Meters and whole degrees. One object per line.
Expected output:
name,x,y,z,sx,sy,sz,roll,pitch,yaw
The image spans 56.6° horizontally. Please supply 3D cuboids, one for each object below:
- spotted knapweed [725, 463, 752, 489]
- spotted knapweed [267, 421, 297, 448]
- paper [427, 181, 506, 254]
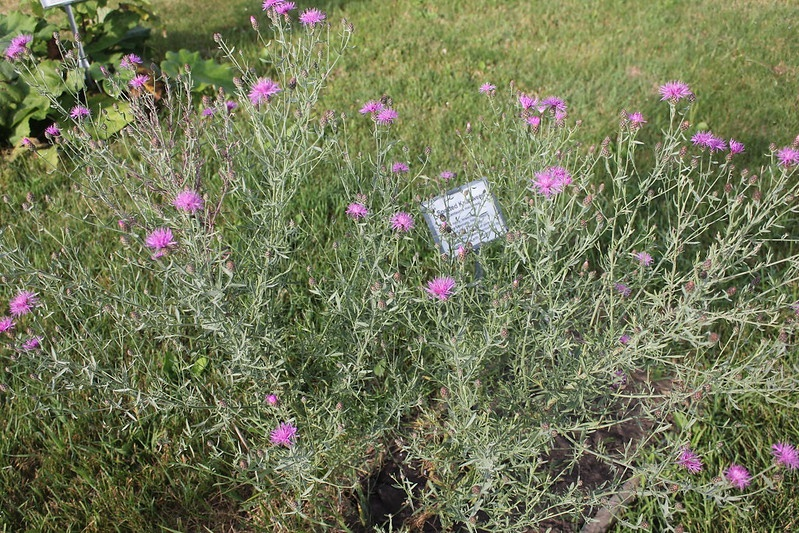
spotted knapweed,1.672,1.041,3.666,0.108,0.073,0.112,-36,46,-19
spotted knapweed,-0.554,0.809,3.567,0.110,0.090,0.126,3,35,1
paper,0.387,-0.272,3.957,0.405,0.411,0.100,-25,23,-9
